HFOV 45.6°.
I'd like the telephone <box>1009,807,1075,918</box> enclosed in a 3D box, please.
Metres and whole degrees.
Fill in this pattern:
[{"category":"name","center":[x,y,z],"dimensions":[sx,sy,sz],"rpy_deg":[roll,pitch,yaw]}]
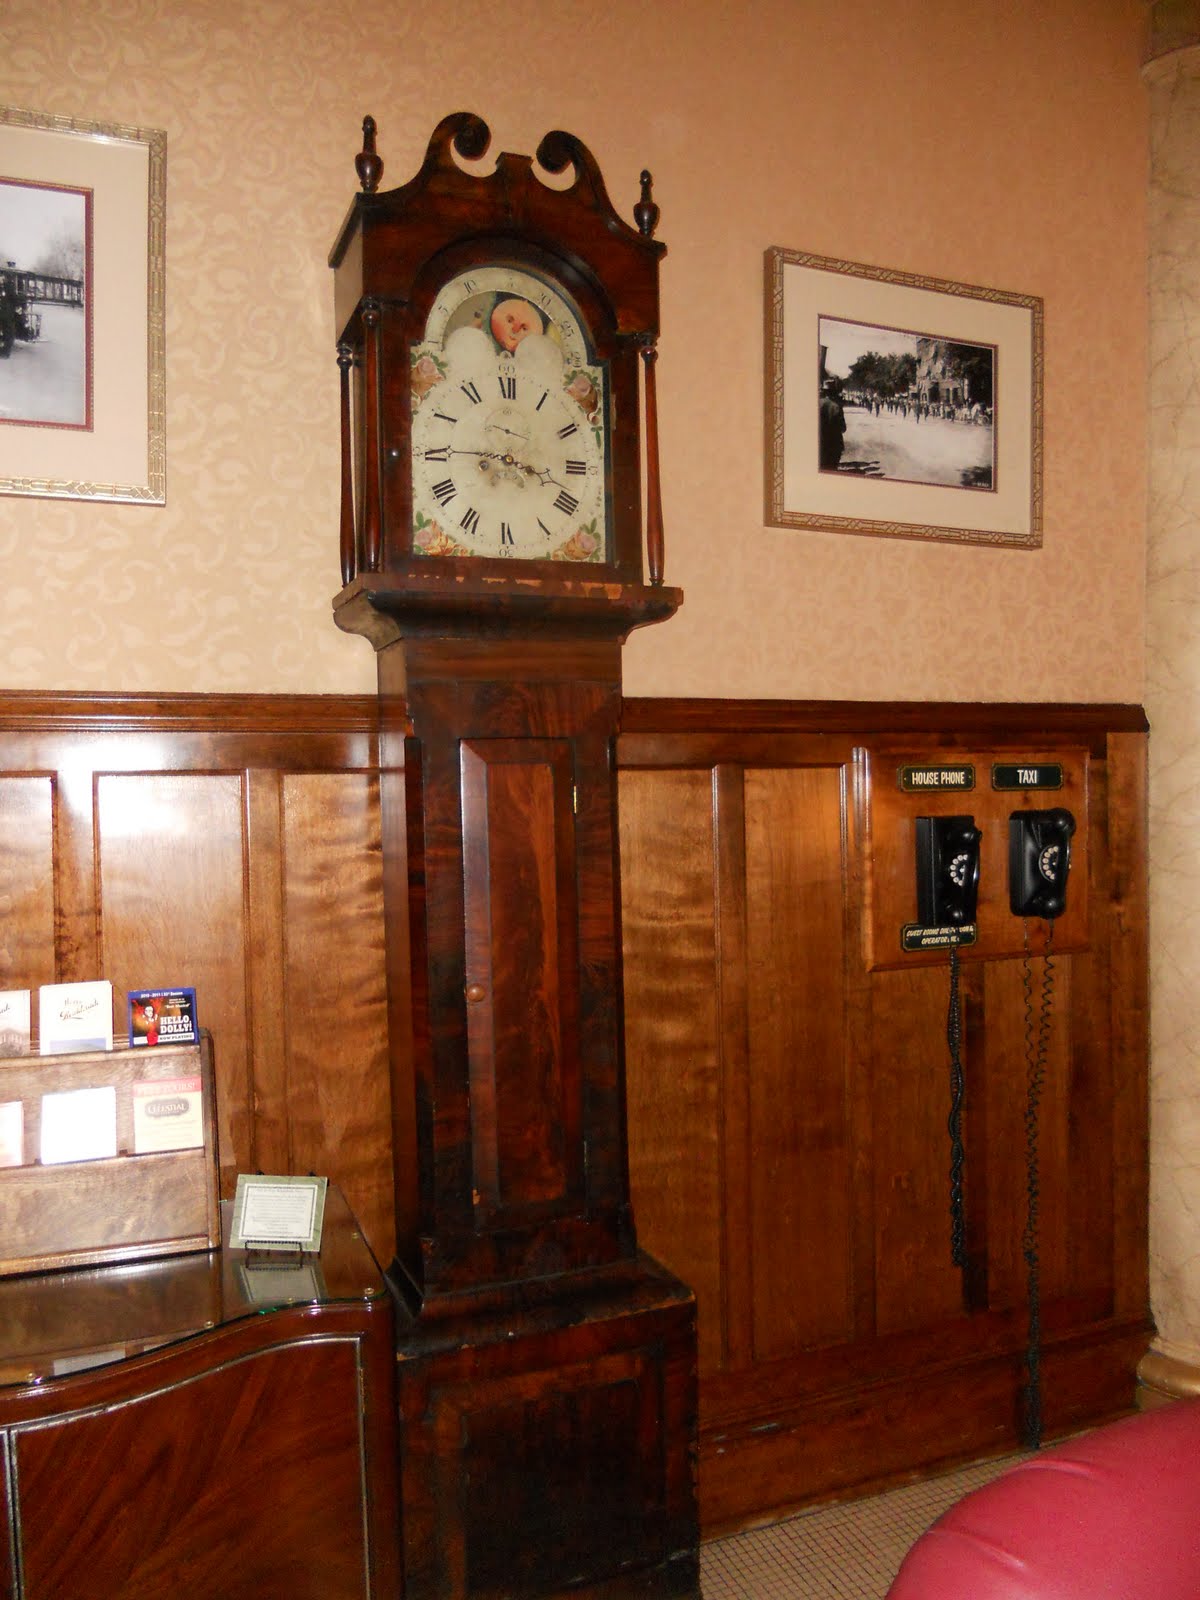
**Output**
[{"category":"telephone","center":[0.866,0.126,2.823],"dimensions":[0.170,0.252,0.089],"rpy_deg":[-3,5,17]}]

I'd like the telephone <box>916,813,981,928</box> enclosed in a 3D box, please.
[{"category":"telephone","center":[0.691,0.145,2.768],"dimensions":[0.177,0.223,0.091],"rpy_deg":[-4,3,-40]}]

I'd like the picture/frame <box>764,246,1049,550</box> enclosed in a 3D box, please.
[{"category":"picture/frame","center":[0.578,-0.754,2.753],"dimensions":[0.662,0.487,0.027],"rpy_deg":[-3,6,-31]}]
